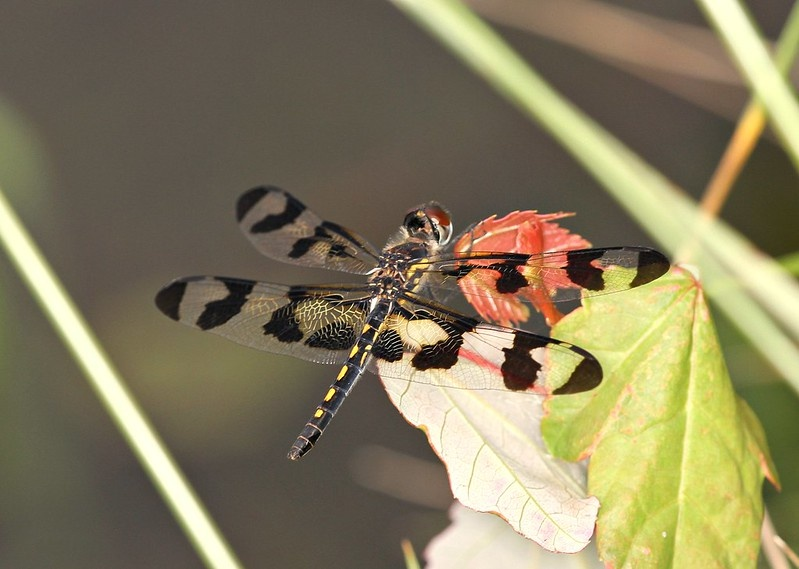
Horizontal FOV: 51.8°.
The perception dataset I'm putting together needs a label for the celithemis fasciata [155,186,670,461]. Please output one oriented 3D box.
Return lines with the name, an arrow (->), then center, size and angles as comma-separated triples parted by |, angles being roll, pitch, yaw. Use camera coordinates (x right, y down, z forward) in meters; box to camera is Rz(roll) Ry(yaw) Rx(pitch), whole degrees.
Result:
celithemis fasciata -> -0.017, 0.024, 0.942 | 0.535, 0.109, 0.307 | 5, 63, 23
